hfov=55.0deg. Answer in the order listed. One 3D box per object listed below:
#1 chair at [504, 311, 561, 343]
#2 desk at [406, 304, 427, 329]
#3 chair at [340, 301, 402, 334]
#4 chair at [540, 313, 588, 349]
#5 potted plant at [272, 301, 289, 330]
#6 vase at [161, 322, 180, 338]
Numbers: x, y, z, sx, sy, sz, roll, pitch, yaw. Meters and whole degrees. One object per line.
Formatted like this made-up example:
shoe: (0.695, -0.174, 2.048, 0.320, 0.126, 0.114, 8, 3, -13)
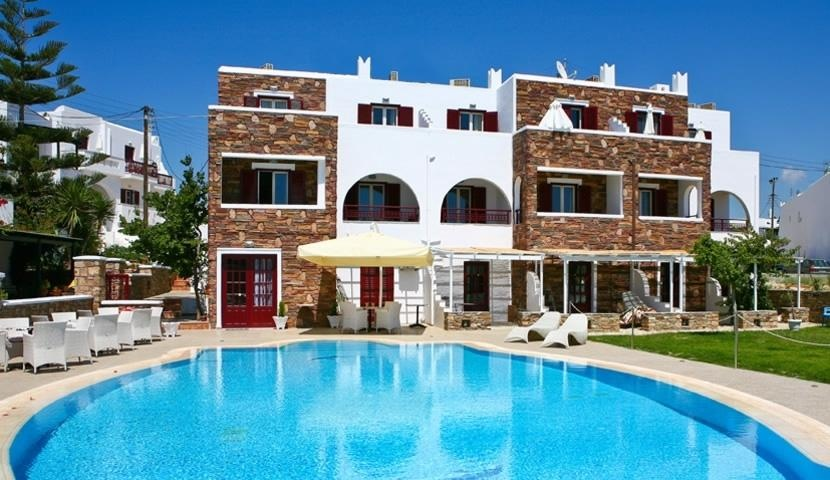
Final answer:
chair: (6.369, 4.828, 43.551, 2.479, 1.159, 1.606, -1, -4, -36)
desk: (0.123, 4.686, 47.873, 1.277, 1.180, 1.246, 1, -3, -40)
chair: (-2.582, 4.510, 46.045, 2.541, 1.265, 2.053, 0, -1, -4)
chair: (8.008, 4.979, 42.739, 2.263, 1.747, 0.937, 1, -7, -23)
potted plant: (-7.897, 4.531, 46.906, 0.816, 1.624, 0.770, 0, -6, -6)
vase: (-13.588, 5.076, 44.550, 0.946, 0.825, 0.777, -1, 0, -15)
